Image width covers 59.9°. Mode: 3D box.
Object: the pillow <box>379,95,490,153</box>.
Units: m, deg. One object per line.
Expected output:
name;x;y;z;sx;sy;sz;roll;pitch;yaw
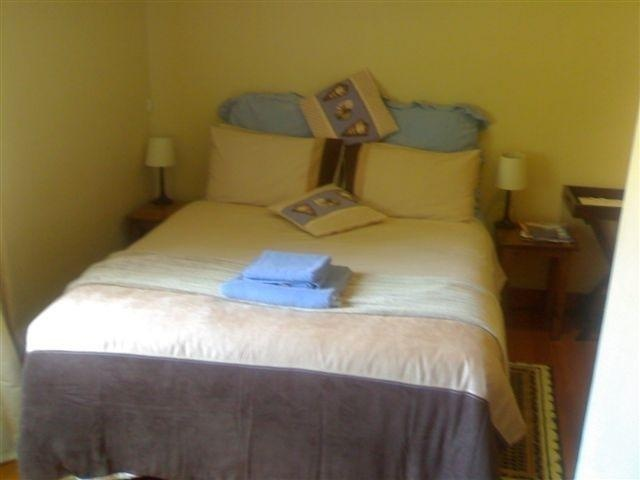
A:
pillow;0.564;-0.564;2.658;0.380;0.249;0.133;4;5;9

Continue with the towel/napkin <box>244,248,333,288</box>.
towel/napkin;-0.112;0.097;1.935;0.161;0.047;0.169;3;21;10

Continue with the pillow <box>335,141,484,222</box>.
pillow;0.461;-0.290;2.696;0.414;0.446;0.124;5;-11;7

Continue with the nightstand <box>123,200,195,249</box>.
nightstand;-0.880;-0.060;2.987;0.202;0.273;0.274;2;21;6

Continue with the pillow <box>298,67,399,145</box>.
pillow;0.129;-0.640;2.616;0.373;0.389;0.101;-24;2;12
